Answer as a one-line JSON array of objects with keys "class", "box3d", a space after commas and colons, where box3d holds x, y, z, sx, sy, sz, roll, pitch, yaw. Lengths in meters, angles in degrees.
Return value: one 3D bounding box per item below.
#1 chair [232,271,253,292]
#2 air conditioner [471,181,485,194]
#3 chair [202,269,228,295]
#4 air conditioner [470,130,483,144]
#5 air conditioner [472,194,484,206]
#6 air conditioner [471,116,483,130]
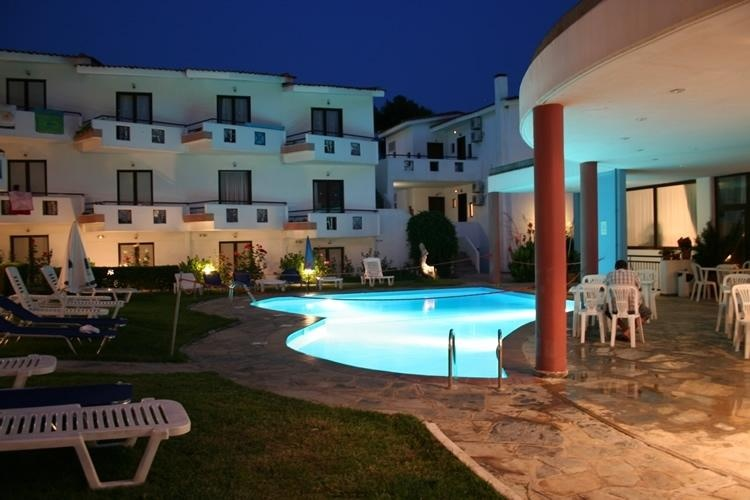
[{"class": "chair", "box3d": [-5.259, 1.157, 23.536, 0.710, 0.652, 0.700, 3, -17, -12]}, {"class": "air conditioner", "box3d": [6.145, -3.664, 36.132, 0.772, 0.606, 1.124, 4, -7, -12]}, {"class": "chair", "box3d": [-6.100, 1.239, 23.063, 0.911, 0.946, 1.288, 0, -5, -29]}, {"class": "air conditioner", "box3d": [6.078, -6.765, 35.799, 0.478, 0.813, 0.738, -4, 11, -22]}, {"class": "air conditioner", "box3d": [6.235, -2.969, 36.149, 0.571, 0.734, 1.043, 0, -2, -8]}, {"class": "air conditioner", "box3d": [6.090, -7.512, 35.839, 0.702, 0.733, 0.347, 3, 11, 14]}]
